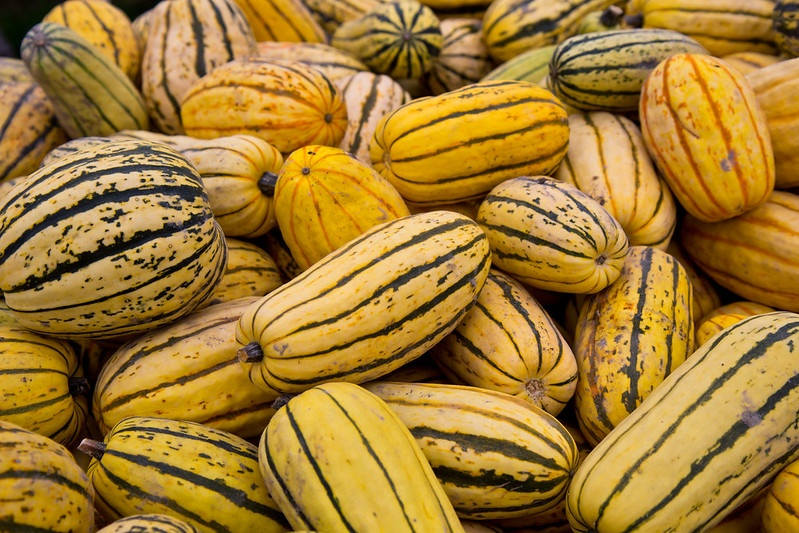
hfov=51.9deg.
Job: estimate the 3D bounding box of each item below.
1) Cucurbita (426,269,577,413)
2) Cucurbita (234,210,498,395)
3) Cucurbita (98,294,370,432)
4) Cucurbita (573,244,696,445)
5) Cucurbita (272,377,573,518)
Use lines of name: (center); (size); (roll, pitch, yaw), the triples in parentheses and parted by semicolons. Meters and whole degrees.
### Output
Cucurbita: (0.309, 0.262, 2.762); (0.302, 0.290, 0.515); (-26, 48, -26)
Cucurbita: (-0.085, 0.102, 2.660); (0.896, 0.430, 0.428); (-24, 51, -27)
Cucurbita: (-0.583, 0.376, 2.615); (0.600, 0.336, 0.347); (-18, 35, -17)
Cucurbita: (0.778, 0.222, 2.783); (0.335, 0.349, 0.666); (28, 56, -5)
Cucurbita: (0.204, 0.626, 2.600); (0.835, 0.386, 0.391); (17, 7, -36)
